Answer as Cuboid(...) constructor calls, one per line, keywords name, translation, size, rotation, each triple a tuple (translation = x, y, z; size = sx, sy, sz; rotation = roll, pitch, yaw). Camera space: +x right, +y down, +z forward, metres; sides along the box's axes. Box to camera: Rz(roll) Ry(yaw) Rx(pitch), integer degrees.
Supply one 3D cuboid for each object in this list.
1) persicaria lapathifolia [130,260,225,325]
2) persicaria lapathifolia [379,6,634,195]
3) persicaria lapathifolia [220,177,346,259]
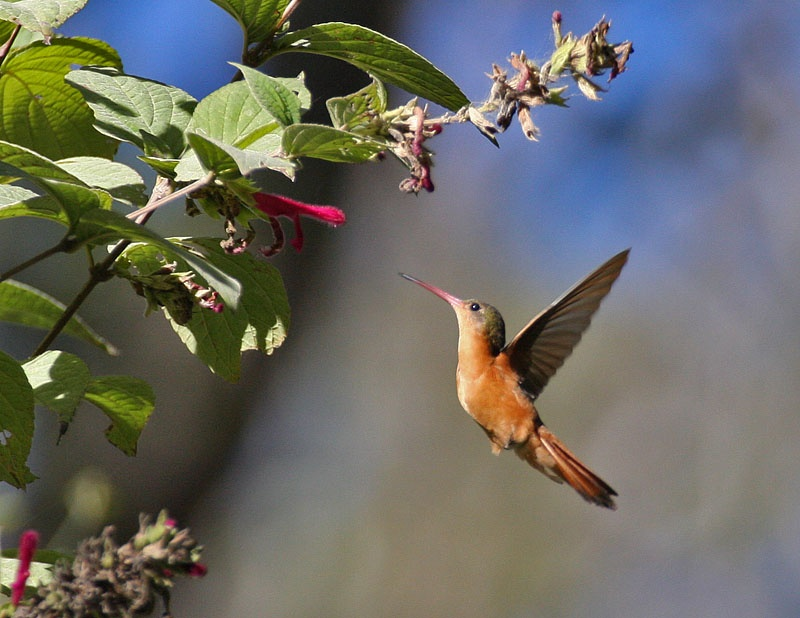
Cuboid(name="persicaria lapathifolia", translation=(-0.386, -0.027, 1.828), size=(0.112, 0.074, 0.116), rotation=(6, 1, 38))
Cuboid(name="persicaria lapathifolia", translation=(0.172, -0.338, 1.706), size=(0.416, 0.229, 0.164), rotation=(-18, 24, -24))
Cuboid(name="persicaria lapathifolia", translation=(-0.239, -0.158, 1.826), size=(0.281, 0.133, 0.088), rotation=(-1, 13, 37))
